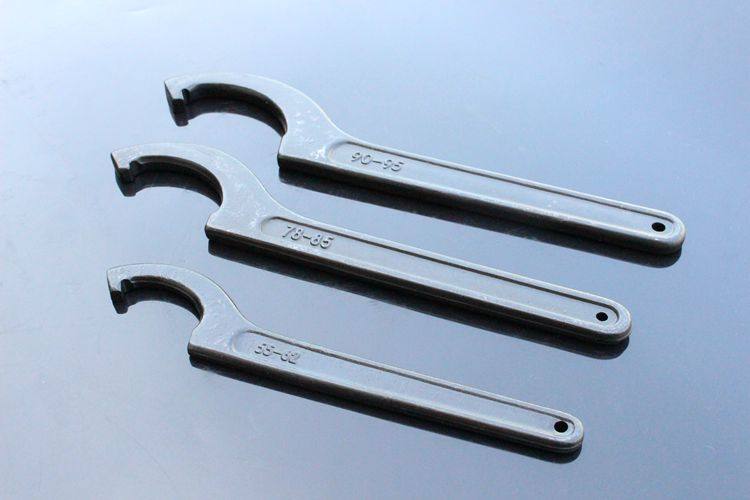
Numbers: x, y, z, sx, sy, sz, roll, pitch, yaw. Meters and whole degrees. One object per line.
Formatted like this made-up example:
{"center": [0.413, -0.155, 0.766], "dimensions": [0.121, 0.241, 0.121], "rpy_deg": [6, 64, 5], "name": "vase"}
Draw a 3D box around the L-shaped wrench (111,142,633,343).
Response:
{"center": [0.017, -0.008, 2.856], "dimensions": [1.064, 0.218, 0.049], "rpy_deg": [17, -31, 10], "name": "L-shaped wrench"}
